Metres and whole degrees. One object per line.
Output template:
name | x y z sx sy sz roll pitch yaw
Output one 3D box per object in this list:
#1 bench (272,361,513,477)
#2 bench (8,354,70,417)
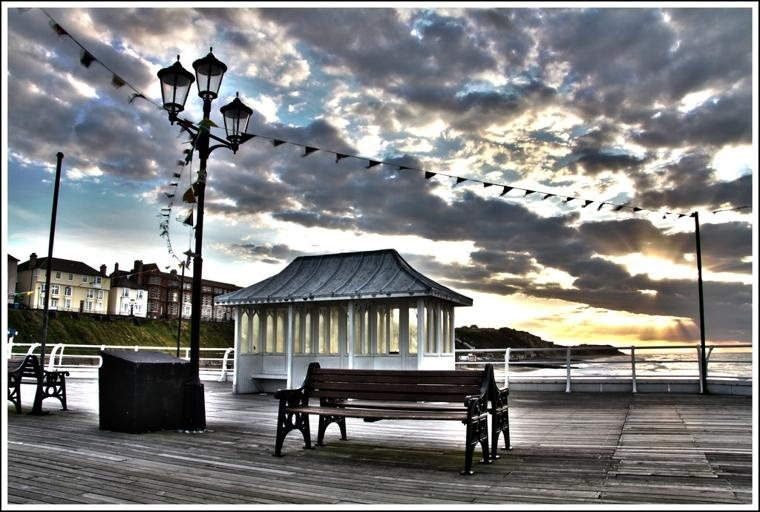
bench | 0.315 3.018 11.239 3.802 1.496 2.105 -4 -9 23
bench | -8.993 3.430 15.776 2.038 1.069 0.854 -2 -6 13
